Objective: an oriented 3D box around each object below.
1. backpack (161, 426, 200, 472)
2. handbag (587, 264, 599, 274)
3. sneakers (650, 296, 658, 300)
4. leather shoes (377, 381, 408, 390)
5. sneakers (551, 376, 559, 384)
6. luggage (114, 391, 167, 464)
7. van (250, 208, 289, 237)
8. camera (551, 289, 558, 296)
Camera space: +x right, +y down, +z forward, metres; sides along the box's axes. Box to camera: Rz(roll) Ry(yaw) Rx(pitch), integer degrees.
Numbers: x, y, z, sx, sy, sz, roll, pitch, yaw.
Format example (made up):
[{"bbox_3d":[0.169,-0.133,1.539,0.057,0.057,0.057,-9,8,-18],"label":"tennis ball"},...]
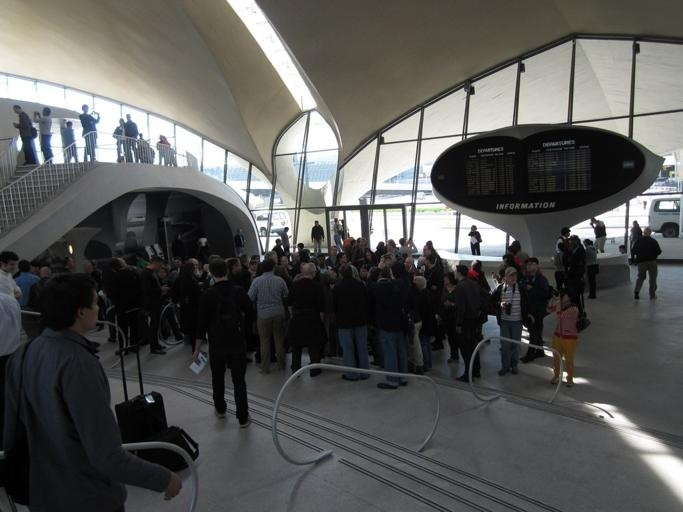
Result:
[{"bbox_3d":[-1.701,2.008,4.852,0.337,0.434,0.386,-2,2,-12],"label":"backpack"},{"bbox_3d":[7.115,0.321,12.970,0.344,0.287,0.198,2,13,26],"label":"handbag"},{"bbox_3d":[8.299,1.081,12.188,0.079,0.071,0.191,2,-6,-32],"label":"sneakers"},{"bbox_3d":[0.781,1.978,7.070,0.443,0.198,0.175,-5,-3,23],"label":"leather shoes"},{"bbox_3d":[3.473,2.002,7.470,0.151,0.175,0.053,1,-6,-7],"label":"sneakers"},{"bbox_3d":[-2.126,1.714,4.898,0.462,0.409,0.280,-3,3,-40],"label":"luggage"},{"bbox_3d":[-3.575,-1.693,23.163,1.803,1.069,1.126,12,18,25],"label":"van"},{"bbox_3d":[3.632,0.614,7.837,0.138,0.137,0.140,2,1,20],"label":"camera"}]
